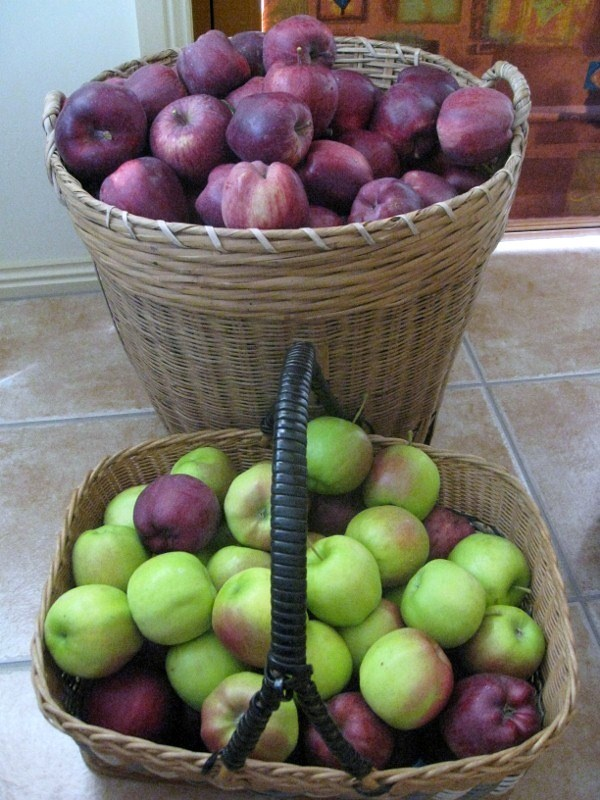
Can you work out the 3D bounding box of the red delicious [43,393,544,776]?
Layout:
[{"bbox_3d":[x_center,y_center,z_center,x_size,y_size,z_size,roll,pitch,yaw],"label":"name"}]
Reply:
[{"bbox_3d":[0.013,0.191,0.765,0.497,0.137,0.372,-5,29,-7],"label":"red delicious"}]

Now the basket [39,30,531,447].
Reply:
[{"bbox_3d":[0.002,-0.216,1.161,0.614,0.490,0.596,2,32,7],"label":"basket"}]
